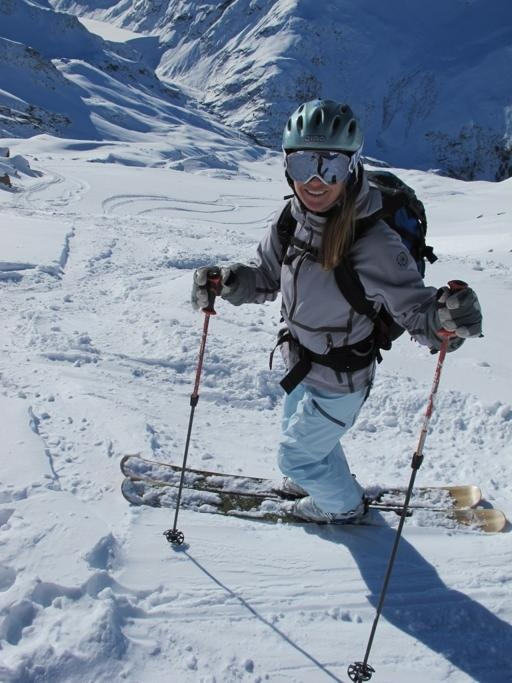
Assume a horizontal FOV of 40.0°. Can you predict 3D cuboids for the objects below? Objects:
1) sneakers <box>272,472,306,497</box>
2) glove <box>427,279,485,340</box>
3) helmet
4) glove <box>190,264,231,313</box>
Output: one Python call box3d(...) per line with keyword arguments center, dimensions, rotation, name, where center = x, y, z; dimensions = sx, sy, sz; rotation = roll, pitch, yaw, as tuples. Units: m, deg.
box3d(center=(0.277, 1.165, 5.716), dimensions=(0.205, 0.060, 0.152), rotation=(5, -20, 47), name="sneakers")
box3d(center=(1.085, -0.153, 3.798), dimensions=(0.301, 0.316, 0.146), rotation=(4, 51, 20), name="glove")
box3d(center=(0.416, -1.350, 4.481), dimensions=(0.545, 0.383, 0.665), rotation=(4, 24, 5), name="helmet")
box3d(center=(-0.283, -0.416, 5.010), dimensions=(0.352, 0.160, 0.419), rotation=(39, -14, 6), name="glove")
